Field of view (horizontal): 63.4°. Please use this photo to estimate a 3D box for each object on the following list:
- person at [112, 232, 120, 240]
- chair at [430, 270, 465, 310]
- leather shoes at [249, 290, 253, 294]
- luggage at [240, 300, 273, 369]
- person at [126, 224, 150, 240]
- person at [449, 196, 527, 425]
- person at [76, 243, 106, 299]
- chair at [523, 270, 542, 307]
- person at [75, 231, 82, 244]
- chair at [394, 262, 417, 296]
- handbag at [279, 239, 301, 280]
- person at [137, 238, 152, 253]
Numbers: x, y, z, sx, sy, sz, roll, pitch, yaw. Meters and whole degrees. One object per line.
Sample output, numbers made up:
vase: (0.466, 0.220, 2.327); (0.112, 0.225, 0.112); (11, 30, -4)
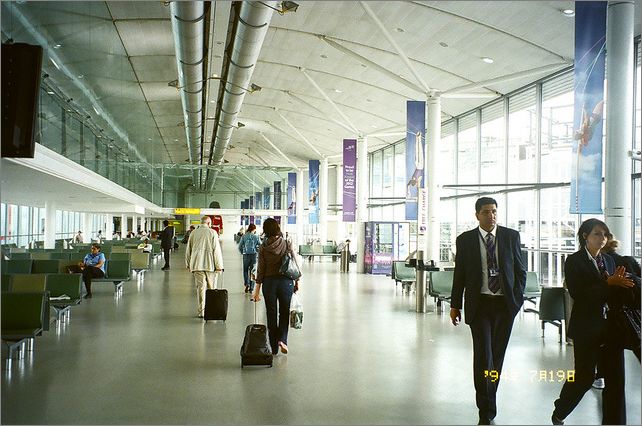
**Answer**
person: (-17.202, 1.964, 43.173); (0.615, 0.762, 0.598); (0, -14, -6)
chair: (3.329, 2.120, 14.004); (0.810, 1.021, 0.860); (1, -4, 3)
leather shoes: (-2.305, 2.542, 16.796); (0.139, 0.125, 0.130); (0, -11, 5)
luggage: (-1.217, 2.478, 9.709); (0.602, 0.687, 0.490); (1, 4, -6)
person: (-17.207, 1.785, 48.541); (3.165, 0.758, 0.908); (4, -16, 6)
person: (2.501, 1.460, 7.786); (1.040, 3.347, 0.614); (2, 4, 20)
person: (-7.077, 1.817, 15.917); (0.731, 1.686, 1.359); (-1, 4, -22)
chair: (5.854, 2.177, 14.249); (0.639, 0.857, 0.636); (3, 8, 28)
person: (-14.683, 1.490, 31.224); (0.538, 0.883, 0.709); (0, -2, -20)
chair: (2.938, 2.177, 17.382); (0.993, 1.001, 1.065); (1, 1, 4)
handbag: (-0.632, 0.943, 10.046); (0.454, 0.773, 0.290); (-1, 4, -28)
person: (-8.555, 1.629, 25.015); (1.150, 0.596, 1.546); (-1, 3, -17)
